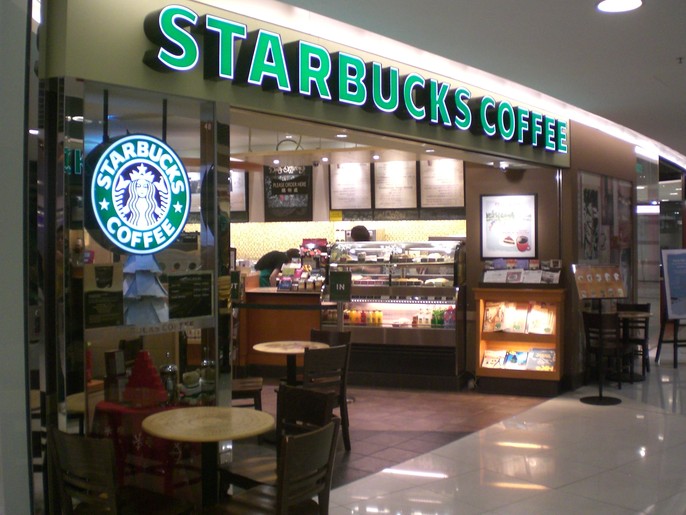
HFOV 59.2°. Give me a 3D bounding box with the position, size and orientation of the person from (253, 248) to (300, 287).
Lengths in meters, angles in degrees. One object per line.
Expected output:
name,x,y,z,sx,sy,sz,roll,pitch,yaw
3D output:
person,-1.251,0.174,10.769,0.751,0.589,1.433,0,3,4

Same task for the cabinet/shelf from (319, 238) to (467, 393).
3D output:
cabinet/shelf,0.758,0.866,8.297,1.841,1.960,0.711,0,-4,19

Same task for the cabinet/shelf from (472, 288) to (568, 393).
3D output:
cabinet/shelf,2.432,1.110,8.146,1.242,1.486,0.548,0,-6,20
